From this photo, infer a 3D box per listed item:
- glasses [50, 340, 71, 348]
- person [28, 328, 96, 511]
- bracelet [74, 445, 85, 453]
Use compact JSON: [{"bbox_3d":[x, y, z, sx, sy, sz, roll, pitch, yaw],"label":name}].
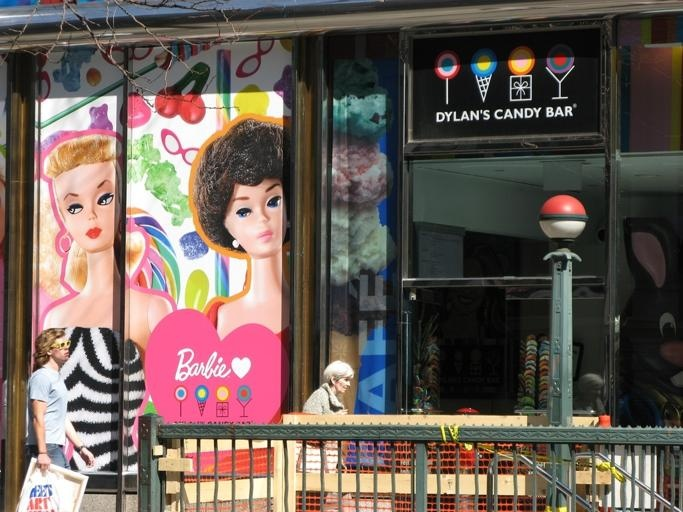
[{"bbox_3d":[-3.855,1.214,23.785,0.139,0.056,0.178,-13,-5,-39],"label":"glasses"},{"bbox_3d":[-3.892,1.950,23.723,0.809,1.917,0.262,1,-8,-10],"label":"person"},{"bbox_3d":[-3.586,2.659,23.666,0.087,0.097,0.091,4,-14,-33],"label":"bracelet"}]
